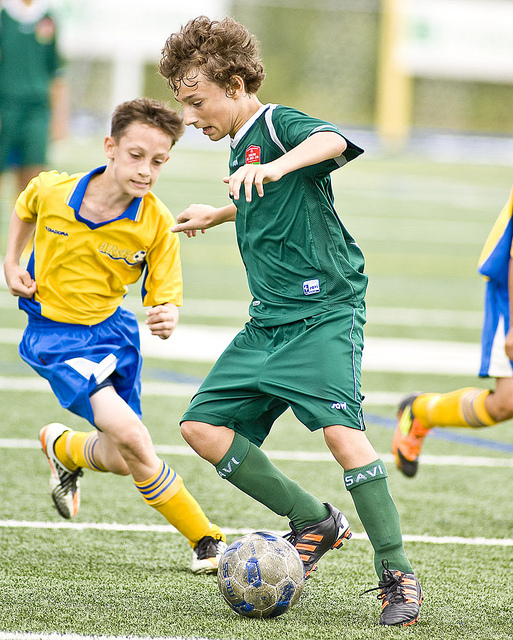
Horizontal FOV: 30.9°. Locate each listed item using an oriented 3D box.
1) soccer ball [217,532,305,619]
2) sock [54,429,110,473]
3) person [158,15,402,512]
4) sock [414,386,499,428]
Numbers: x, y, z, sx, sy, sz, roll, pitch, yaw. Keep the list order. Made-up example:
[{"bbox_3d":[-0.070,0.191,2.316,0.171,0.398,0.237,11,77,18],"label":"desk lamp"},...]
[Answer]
[{"bbox_3d":[-0.007,0.777,2.816,0.264,0.228,0.242,0,-27,0],"label":"soccer ball"},{"bbox_3d":[-0.713,0.501,3.714,0.163,0.115,0.358,46,-25,-24],"label":"sock"},{"bbox_3d":[0.069,-0.173,2.971,0.619,1.641,0.726,0,9,-24],"label":"person"},{"bbox_3d":[0.843,0.365,3.901,0.142,0.125,0.409,8,-10,-18],"label":"sock"}]
